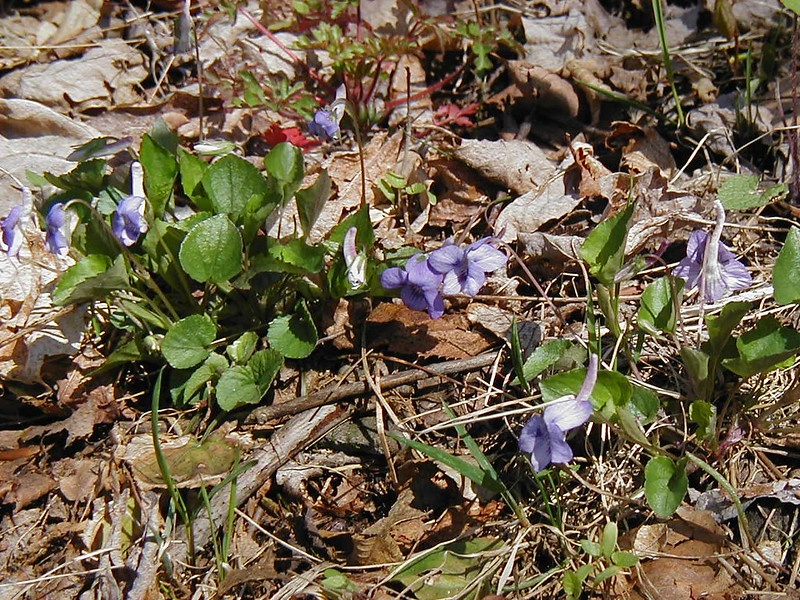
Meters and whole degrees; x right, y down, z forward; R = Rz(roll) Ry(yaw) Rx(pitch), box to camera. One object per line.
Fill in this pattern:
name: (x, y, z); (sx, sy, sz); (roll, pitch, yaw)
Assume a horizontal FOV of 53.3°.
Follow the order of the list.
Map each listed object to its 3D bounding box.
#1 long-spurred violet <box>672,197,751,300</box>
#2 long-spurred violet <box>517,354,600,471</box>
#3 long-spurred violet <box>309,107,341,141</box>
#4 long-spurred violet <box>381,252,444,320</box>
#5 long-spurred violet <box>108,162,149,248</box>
long-spurred violet: (1.332, -0.212, 3.406); (0.308, 0.347, 0.296); (-21, 51, -8)
long-spurred violet: (0.567, 0.407, 3.018); (0.385, 0.135, 0.590); (-7, 18, 26)
long-spurred violet: (-0.352, -0.818, 3.706); (0.129, 0.166, 0.092); (35, 68, 21)
long-spurred violet: (0.054, -0.035, 3.266); (0.299, 0.322, 0.116); (24, 85, 18)
long-spurred violet: (-1.072, -0.383, 3.325); (0.199, 0.113, 0.357); (12, 93, 33)
